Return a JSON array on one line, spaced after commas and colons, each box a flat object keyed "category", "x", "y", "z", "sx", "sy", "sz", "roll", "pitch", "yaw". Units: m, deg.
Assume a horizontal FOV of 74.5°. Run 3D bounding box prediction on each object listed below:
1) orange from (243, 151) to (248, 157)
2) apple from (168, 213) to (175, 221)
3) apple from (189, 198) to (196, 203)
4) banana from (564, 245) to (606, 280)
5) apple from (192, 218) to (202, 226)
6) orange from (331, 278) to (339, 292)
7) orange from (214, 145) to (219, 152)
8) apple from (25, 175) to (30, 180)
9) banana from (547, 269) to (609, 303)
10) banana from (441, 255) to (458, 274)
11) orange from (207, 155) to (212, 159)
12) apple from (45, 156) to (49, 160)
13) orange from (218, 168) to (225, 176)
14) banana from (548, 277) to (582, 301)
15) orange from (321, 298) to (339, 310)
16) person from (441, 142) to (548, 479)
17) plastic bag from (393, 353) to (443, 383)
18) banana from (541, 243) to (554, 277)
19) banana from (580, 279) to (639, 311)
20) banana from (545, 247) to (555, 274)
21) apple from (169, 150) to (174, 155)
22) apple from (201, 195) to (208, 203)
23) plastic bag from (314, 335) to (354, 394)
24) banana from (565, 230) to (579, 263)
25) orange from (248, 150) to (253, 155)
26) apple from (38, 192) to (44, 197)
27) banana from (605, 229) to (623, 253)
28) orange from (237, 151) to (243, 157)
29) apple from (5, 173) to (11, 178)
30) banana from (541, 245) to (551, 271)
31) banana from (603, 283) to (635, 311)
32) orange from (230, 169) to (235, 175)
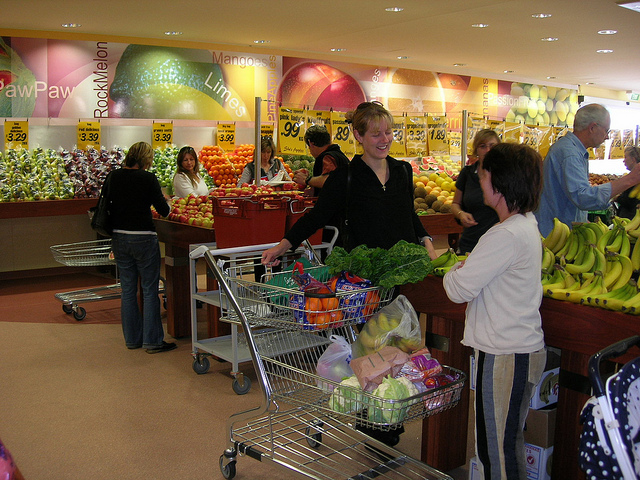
[{"category": "orange", "x": -1.308, "y": -1.523, "z": 7.512, "sx": 0.078, "sy": 0.101, "sz": 0.106, "roll": -1, "pitch": 9, "yaw": -10}, {"category": "apple", "x": -1.575, "y": -0.246, "z": 4.511, "sx": 0.064, "sy": 0.071, "sz": 0.067, "roll": 0, "pitch": -6, "yaw": 0}, {"category": "apple", "x": -1.382, "y": -0.435, "z": 4.624, "sx": 0.074, "sy": 0.041, "sz": 0.040, "roll": 3, "pitch": 9, "yaw": 14}, {"category": "banana", "x": 1.248, "y": 0.103, "z": 1.980, "sx": 0.113, "sy": 0.109, "sz": 0.201, "roll": 1, "pitch": 34, "yaw": 29}, {"category": "apple", "x": -1.202, "y": -0.173, "z": 4.161, "sx": 0.129, "sy": 0.055, "sz": 0.065, "roll": 3, "pitch": 10, "yaw": 15}, {"category": "orange", "x": 0.067, "y": 0.205, "z": 1.952, "sx": 0.029, "sy": 0.047, "sz": 0.060, "roll": 3, "pitch": 10, "yaw": 15}, {"category": "orange", "x": -1.791, "y": -1.593, "z": 7.396, "sx": 0.071, "sy": 0.091, "sz": 0.075, "roll": 3, "pitch": 21, "yaw": 1}, {"category": "apple", "x": -4.491, "y": -0.972, "z": 6.548, "sx": 0.052, "sy": 0.054, "sz": 0.038, "roll": 5, "pitch": 7, "yaw": 16}, {"category": "banana", "x": 1.120, "y": 0.207, "z": 1.857, "sx": 0.066, "sy": 0.110, "sz": 0.249, "roll": -4, "pitch": -12, "yaw": -31}, {"category": "banana", "x": 0.639, "y": 0.123, "z": 2.097, "sx": 0.056, "sy": 0.092, "sz": 0.030, "roll": 28, "pitch": 0, "yaw": 6}, {"category": "orange", "x": -1.884, "y": -1.427, "z": 7.290, "sx": 0.061, "sy": 0.049, "sz": 0.063, "roll": -3, "pitch": -5, "yaw": 35}, {"category": "apple", "x": -4.335, "y": -1.312, "z": 6.765, "sx": 0.053, "sy": 0.050, "sz": 0.046, "roll": -6, "pitch": 11, "yaw": -32}, {"category": "orange", "x": -1.630, "y": -1.139, "z": 7.081, "sx": 0.088, "sy": 0.097, "sz": 0.050, "roll": 5, "pitch": 4, "yaw": 8}, {"category": "banana", "x": 1.096, "y": 0.214, "z": 1.883, "sx": 0.195, "sy": 0.071, "sz": 0.081, "roll": -8, "pitch": 12, "yaw": -39}, {"category": "orange", "x": 0.043, "y": 0.272, "z": 1.795, "sx": 0.055, "sy": 0.060, "sz": 0.047, "roll": 6, "pitch": -5, "yaw": -31}, {"category": "person", "x": 0.692, "y": 0.291, "z": 1.676, "sx": 0.379, "sy": 1.327, "sz": 0.246, "roll": 5, "pitch": 10, "yaw": 28}, {"category": "plastic bag", "x": 0.430, "y": 0.547, "z": 1.798, "sx": 0.113, "sy": 0.054, "sz": 0.132, "roll": -8, "pitch": 1, "yaw": -3}, {"category": "banana", "x": 1.095, "y": 0.104, "z": 2.043, "sx": 0.053, "sy": 0.150, "sz": 0.035, "roll": 13, "pitch": -22, "yaw": -3}, {"category": "banana", "x": 1.196, "y": 0.214, "z": 1.738, "sx": 0.198, "sy": 0.090, "sz": 0.111, "roll": -3, "pitch": 0, "yaw": -39}, {"category": "banana", "x": 1.127, "y": 0.107, "z": 2.078, "sx": 0.023, "sy": 0.119, "sz": 0.039, "roll": 17, "pitch": -27, "yaw": -19}, {"category": "apple", "x": -2.575, "y": -1.534, "z": 7.416, "sx": 0.074, "sy": 0.077, "sz": 0.042, "roll": 1, "pitch": -4, "yaw": -26}, {"category": "apple", "x": -1.269, "y": -0.441, "z": 4.673, "sx": 0.074, "sy": 0.067, "sz": 0.067, "roll": 5, "pitch": 47, "yaw": 10}, {"category": "plastic bag", "x": 0.079, "y": 0.555, "z": 1.970, "sx": 0.167, "sy": 0.190, "sz": 0.141, "roll": -2, "pitch": 9, "yaw": -12}, {"category": "banana", "x": 1.261, "y": 0.037, "z": 2.120, "sx": 0.028, "sy": 0.152, "sz": 0.049, "roll": 25, "pitch": -27, "yaw": -28}, {"category": "orange", "x": -1.218, "y": -1.551, "z": 7.485, "sx": 0.080, "sy": 0.084, "sz": 0.096, "roll": -1, "pitch": 29, "yaw": -40}, {"category": "apple", "x": -4.283, "y": -0.701, "z": 6.558, "sx": 0.055, "sy": 0.068, "sz": 0.039, "roll": -5, "pitch": 10, "yaw": -29}, {"category": "banana", "x": 1.403, "y": 0.007, "z": 2.021, "sx": 0.056, "sy": 0.030, "sz": 0.091, "roll": 20, "pitch": 57, "yaw": 22}, {"category": "orange", "x": -1.402, "y": -1.534, "z": 7.510, "sx": 0.087, "sy": 0.079, "sz": 0.089, "roll": -2, "pitch": 9, "yaw": -11}, {"category": "apple", "x": -4.687, "y": -0.967, "z": 6.399, "sx": 0.026, "sy": 0.047, "sz": 0.078, "roll": 5, "pitch": 10, "yaw": 26}, {"category": "banana", "x": 1.088, "y": 0.092, "z": 2.042, "sx": 0.042, "sy": 0.119, "sz": 0.027, "roll": 8, "pitch": -26, "yaw": -6}, {"category": "banana", "x": 1.270, "y": 0.247, "z": 1.808, "sx": 0.062, "sy": 0.136, "sz": 0.345, "roll": -8, "pitch": 0, "yaw": 42}, {"category": "orange", "x": -1.432, "y": -1.138, "z": 7.018, "sx": 0.076, "sy": 0.083, "sz": 0.092, "roll": -3, "pitch": -3, "yaw": -22}]
